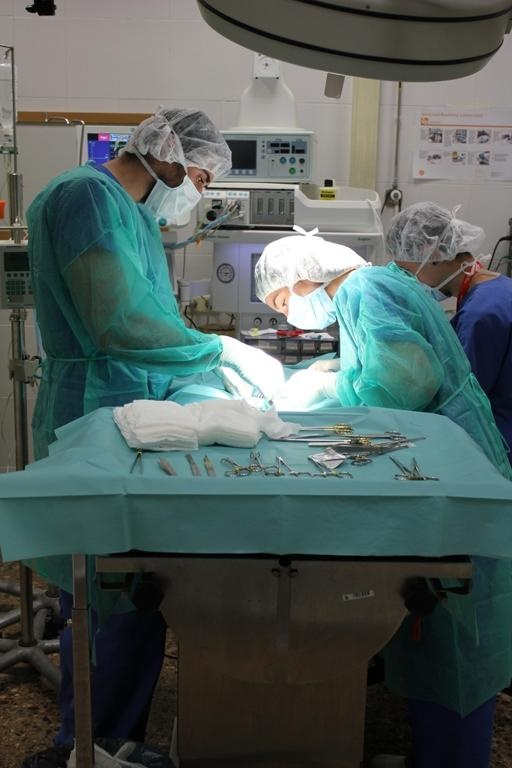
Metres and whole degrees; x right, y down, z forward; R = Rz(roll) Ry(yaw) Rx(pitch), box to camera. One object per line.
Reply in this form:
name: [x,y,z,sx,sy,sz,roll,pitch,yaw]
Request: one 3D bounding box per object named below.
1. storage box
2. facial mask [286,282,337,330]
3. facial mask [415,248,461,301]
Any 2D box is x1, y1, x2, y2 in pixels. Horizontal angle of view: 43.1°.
storage box: [0.329,-0.684,2.709,0.365,0.212,0.363,1,12,-1]
facial mask: [0.160,-0.223,1.884,0.112,0.064,0.110,-8,39,-3]
facial mask: [0.525,-0.317,1.883,0.135,0.109,0.116,-17,8,13]
